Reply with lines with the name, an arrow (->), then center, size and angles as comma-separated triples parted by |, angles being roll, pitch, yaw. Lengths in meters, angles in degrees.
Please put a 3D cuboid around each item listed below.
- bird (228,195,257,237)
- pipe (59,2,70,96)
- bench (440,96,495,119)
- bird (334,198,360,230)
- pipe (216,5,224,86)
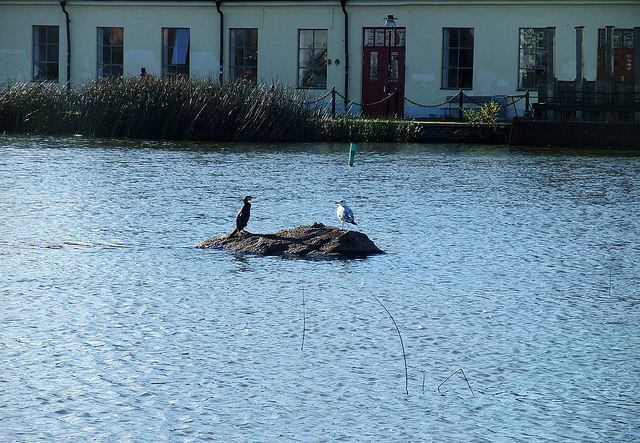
bird -> -0.960, -0.062, 14.594 | 0.260, 0.484, 0.322 | 0, 7, -6
pipe -> -7.701, -5.445, 36.700 | 0.268, 2.298, 0.346 | -1, 7, -13
bench -> 4.029, -3.063, 32.748 | 1.455, 0.617, 1.423 | 1, 7, 5
bird -> 0.355, -0.073, 14.590 | 0.202, 0.350, 0.441 | -4, 14, -36
pipe -> -2.886, -5.317, 35.510 | 0.205, 1.992, 0.345 | 0, 7, -5
